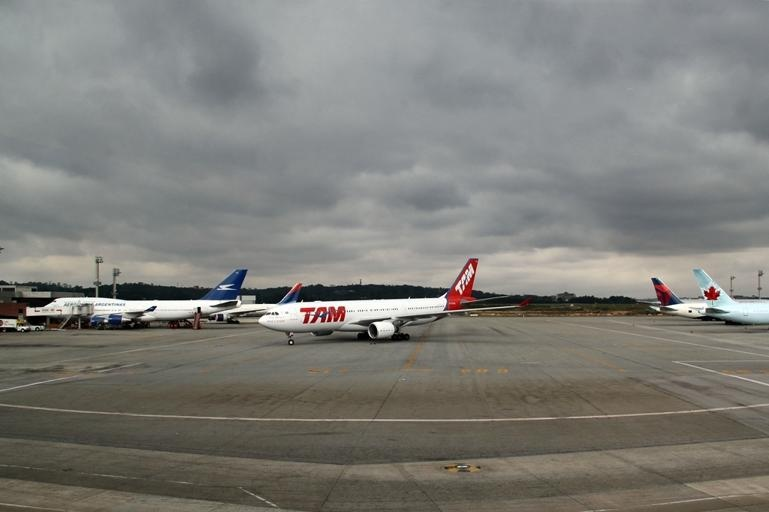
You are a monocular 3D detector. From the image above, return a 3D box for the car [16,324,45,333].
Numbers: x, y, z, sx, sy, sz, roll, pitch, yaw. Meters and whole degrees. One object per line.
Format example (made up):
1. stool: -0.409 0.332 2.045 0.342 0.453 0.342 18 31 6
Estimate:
1. car: -61.310 12.455 83.717 3.555 1.042 2.060 1 -5 -12
